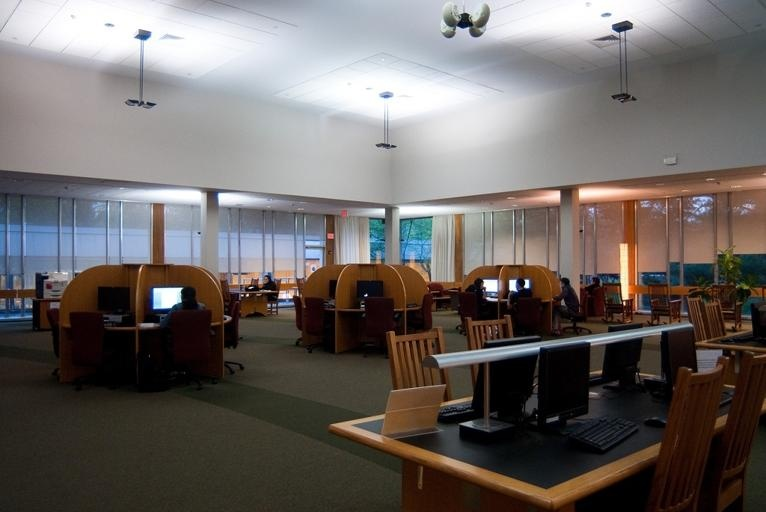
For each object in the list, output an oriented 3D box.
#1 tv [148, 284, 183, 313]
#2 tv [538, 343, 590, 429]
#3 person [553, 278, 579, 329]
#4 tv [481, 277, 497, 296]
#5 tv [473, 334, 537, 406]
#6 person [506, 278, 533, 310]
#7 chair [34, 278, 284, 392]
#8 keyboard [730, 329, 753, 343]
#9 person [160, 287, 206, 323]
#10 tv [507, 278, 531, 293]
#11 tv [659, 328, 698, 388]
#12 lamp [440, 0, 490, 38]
[{"bbox_3d":[-3.387,0.681,8.922,0.446,0.321,0.127,0,0,-7],"label":"tv"},{"bbox_3d":[1.508,1.085,4.841,0.739,0.809,0.159,0,-1,-34],"label":"tv"},{"bbox_3d":[4.044,1.077,12.669,0.653,1.269,0.574,-1,0,28],"label":"person"},{"bbox_3d":[2.441,0.731,13.218,0.204,0.376,0.385,-2,5,-43],"label":"tv"},{"bbox_3d":[1.044,0.995,4.865,0.649,0.641,0.342,-1,3,-28],"label":"tv"},{"bbox_3d":[2.963,0.844,12.416,0.638,0.838,0.486,2,7,5],"label":"person"},{"bbox_3d":[-3.632,1.097,8.702,1.949,1.242,1.971,3,3,32],"label":"chair"},{"bbox_3d":[4.556,1.028,7.259,0.310,0.074,0.150,-5,7,-34],"label":"keyboard"},{"bbox_3d":[-2.911,0.675,8.483,0.596,0.782,0.457,1,7,-23],"label":"person"},{"bbox_3d":[3.105,0.584,13.071,0.277,0.352,0.506,-1,1,-17],"label":"tv"},{"bbox_3d":[2.687,0.929,5.225,0.075,0.540,0.573,-8,-9,44],"label":"tv"},{"bbox_3d":[1.239,-3.694,8.877,0.645,0.670,1.509,1,8,5],"label":"lamp"}]
